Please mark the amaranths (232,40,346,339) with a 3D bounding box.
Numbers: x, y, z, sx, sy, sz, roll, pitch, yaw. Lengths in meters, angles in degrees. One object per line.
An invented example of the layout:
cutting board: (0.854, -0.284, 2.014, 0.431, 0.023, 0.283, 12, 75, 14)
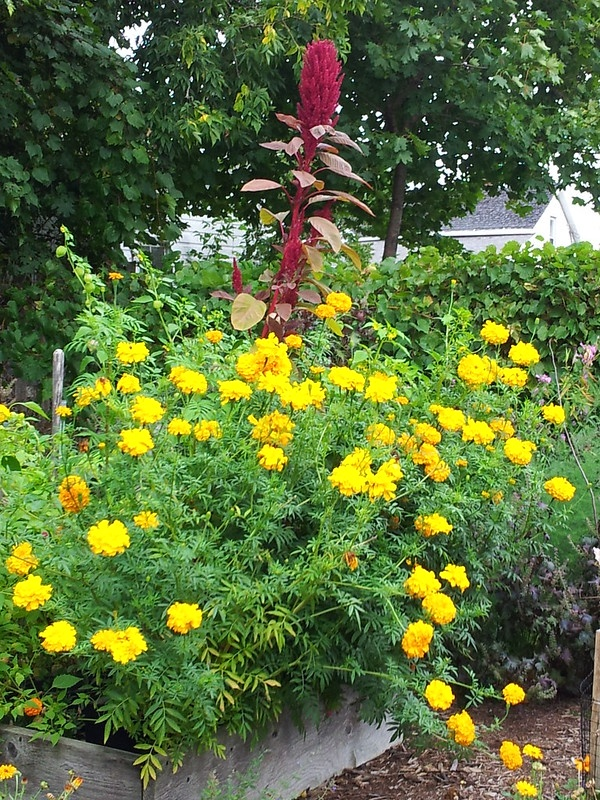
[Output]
amaranths: (-0.062, -0.839, 3.136, 0.494, 1.360, 0.492, 5, 9, 34)
